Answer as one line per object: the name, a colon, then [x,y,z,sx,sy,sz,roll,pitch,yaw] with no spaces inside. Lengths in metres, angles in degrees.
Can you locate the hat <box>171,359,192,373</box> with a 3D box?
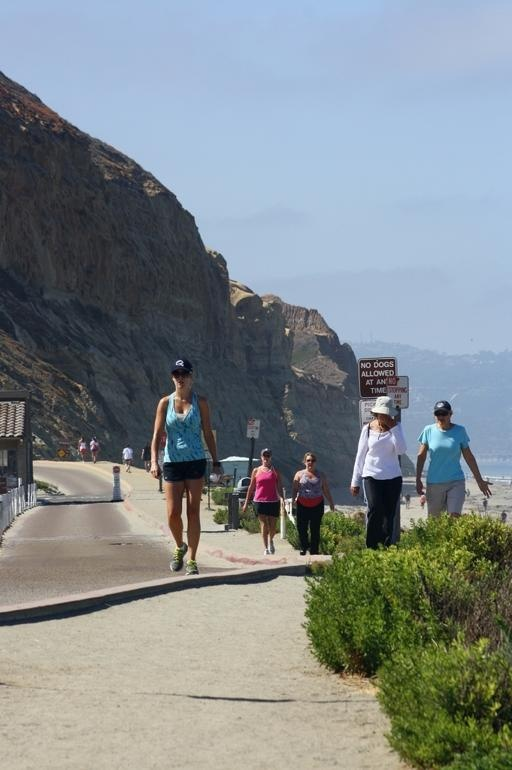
hat: [-0.593,-0.155,9.921,0.139,0.129,0.218,0,-10,4]

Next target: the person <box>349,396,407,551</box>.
person: [1.010,0.730,10.316,0.442,1.278,1.023,1,-1,7]

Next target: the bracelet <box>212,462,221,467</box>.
bracelet: [-0.315,0.599,9.497,0.041,0.033,0.043,-1,-4,2]

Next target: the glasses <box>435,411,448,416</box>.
glasses: [1.690,0.257,11.299,0.085,0.047,0.105,-1,-7,9]

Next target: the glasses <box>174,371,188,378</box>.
glasses: [-0.611,-0.089,9.813,0.074,0.056,0.123,2,-7,2]

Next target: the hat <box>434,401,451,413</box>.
hat: [1.697,0.188,11.329,0.114,0.121,0.191,-1,-15,15]

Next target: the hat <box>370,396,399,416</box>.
hat: [1.071,0.169,10.415,0.170,0.120,0.212,6,-12,2]

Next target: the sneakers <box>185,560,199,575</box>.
sneakers: [-0.543,1.546,10.476,0.072,0.092,0.200,2,-6,-6]
